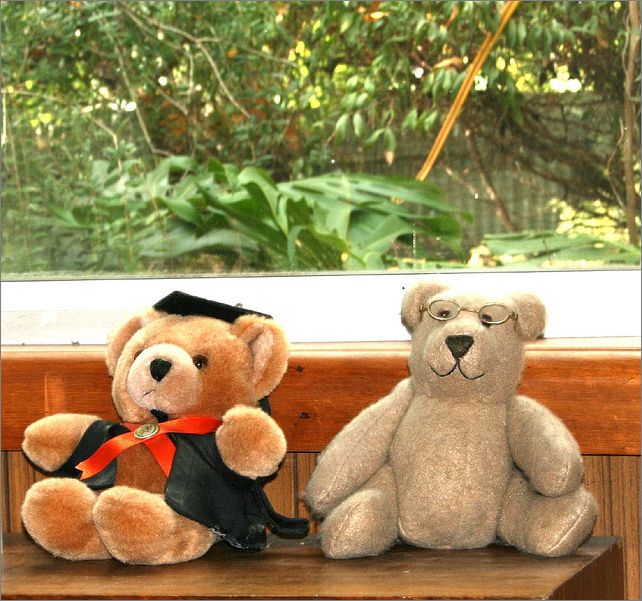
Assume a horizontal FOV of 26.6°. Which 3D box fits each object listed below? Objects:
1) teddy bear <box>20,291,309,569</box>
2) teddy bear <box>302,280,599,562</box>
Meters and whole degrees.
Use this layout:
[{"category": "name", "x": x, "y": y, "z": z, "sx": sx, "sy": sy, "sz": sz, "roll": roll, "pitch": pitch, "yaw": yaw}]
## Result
[{"category": "teddy bear", "x": -0.234, "y": 0.194, "z": 2.063, "sx": 0.441, "sy": 0.400, "sz": 0.352, "roll": 4, "pitch": 4, "yaw": 4}, {"category": "teddy bear", "x": 0.190, "y": 0.179, "z": 2.015, "sx": 0.431, "sy": 0.397, "sz": 0.264, "roll": 2, "pitch": 6, "yaw": 13}]
